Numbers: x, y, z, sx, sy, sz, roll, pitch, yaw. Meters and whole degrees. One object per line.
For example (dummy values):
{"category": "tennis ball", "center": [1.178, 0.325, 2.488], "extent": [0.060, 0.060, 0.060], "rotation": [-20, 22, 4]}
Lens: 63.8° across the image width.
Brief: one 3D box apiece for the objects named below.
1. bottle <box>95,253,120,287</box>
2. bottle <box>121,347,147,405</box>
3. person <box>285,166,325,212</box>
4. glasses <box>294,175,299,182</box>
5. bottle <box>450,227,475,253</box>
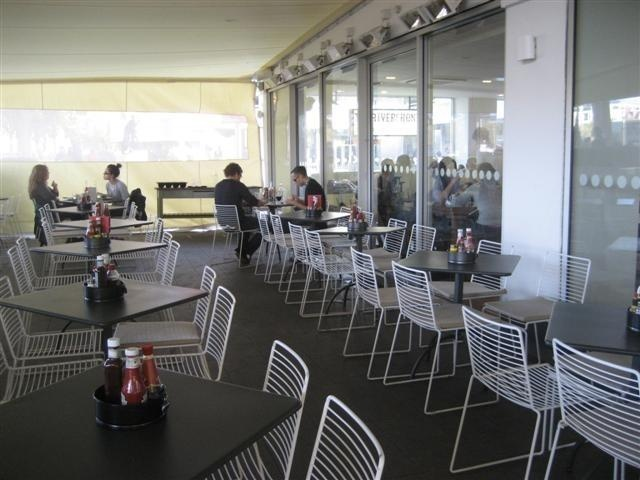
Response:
{"category": "bottle", "center": [-1.474, 0.199, 3.536], "extent": [0.159, 0.172, 0.254], "rotation": [-10, 16, -32]}
{"category": "bottle", "center": [-0.811, 0.561, 2.212], "extent": [0.104, 0.256, 0.215], "rotation": [-7, 14, -23]}
{"category": "person", "center": [-0.225, -0.748, 8.379], "extent": [0.449, 0.933, 0.498], "rotation": [1, 27, 21]}
{"category": "glasses", "center": [-0.363, -0.977, 8.216], "extent": [0.068, 0.078, 0.072], "rotation": [-6, 12, -23]}
{"category": "bottle", "center": [1.370, 0.000, 4.930], "extent": [0.240, 0.280, 0.238], "rotation": [0, 2, 40]}
